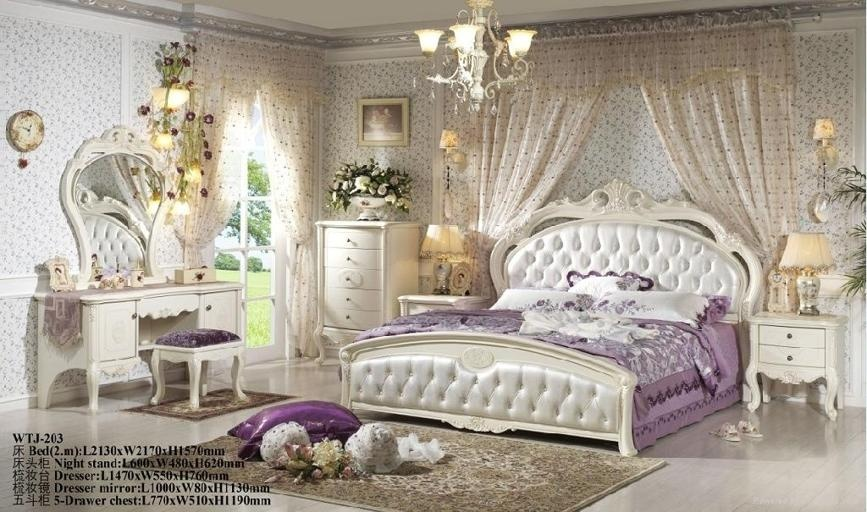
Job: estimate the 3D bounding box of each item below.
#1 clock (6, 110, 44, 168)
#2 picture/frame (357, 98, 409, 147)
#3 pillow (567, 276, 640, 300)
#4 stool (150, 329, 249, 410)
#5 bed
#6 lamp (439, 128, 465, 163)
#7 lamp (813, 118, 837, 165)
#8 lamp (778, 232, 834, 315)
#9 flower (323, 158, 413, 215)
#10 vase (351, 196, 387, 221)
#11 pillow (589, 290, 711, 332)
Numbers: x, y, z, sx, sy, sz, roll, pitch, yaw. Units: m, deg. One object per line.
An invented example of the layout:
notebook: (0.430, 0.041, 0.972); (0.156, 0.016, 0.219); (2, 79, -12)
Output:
clock: (-4.035, -1.193, 6.308); (0.072, 0.500, 0.330); (6, 8, 41)
picture/frame: (-0.611, -1.788, 8.400); (0.723, 0.583, 0.066); (0, -2, 17)
pillow: (1.858, 0.330, 6.927); (0.380, 0.117, 0.409); (-20, 10, -42)
stool: (-2.510, 1.124, 6.724); (0.857, 0.773, 0.892); (-4, -4, 34)
bed: (1.287, 0.387, 6.347); (3.547, 2.327, 2.449); (-5, 7, -42)
lamp: (0.217, -1.379, 7.943); (0.339, 0.427, 0.331); (2, 6, 20)
lamp: (4.080, -1.187, 6.550); (0.243, 0.470, 0.199); (3, 7, 25)
lamp: (3.793, 0.172, 6.468); (0.485, 0.834, 0.423); (2, 6, 16)
flower: (-0.797, -0.926, 8.178); (0.864, 0.545, 0.837); (1, -4, 6)
vase: (-0.820, -0.630, 8.285); (0.377, 0.240, 0.356); (0, -6, -3)
pillow: (2.208, 0.507, 6.486); (0.790, 0.200, 0.498); (3, 35, 37)
